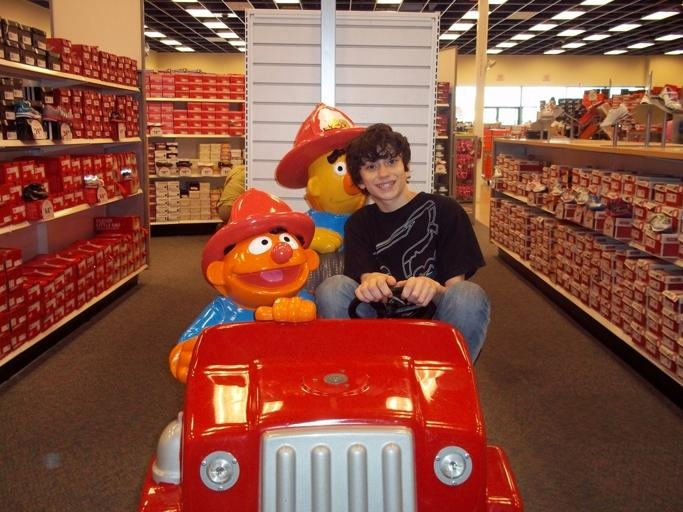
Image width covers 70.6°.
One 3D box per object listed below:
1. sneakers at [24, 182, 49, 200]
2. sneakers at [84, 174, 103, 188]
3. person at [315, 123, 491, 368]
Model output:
[{"bbox_3d":[-2.128,-0.443,3.344,0.080,0.061,0.138,14,15,-13],"label":"sneakers"},{"bbox_3d":[-2.181,-0.649,4.223,0.141,0.076,0.185,-2,6,-19],"label":"sneakers"},{"bbox_3d":[0.270,-0.087,1.902,0.636,0.849,0.678,4,14,17],"label":"person"}]
